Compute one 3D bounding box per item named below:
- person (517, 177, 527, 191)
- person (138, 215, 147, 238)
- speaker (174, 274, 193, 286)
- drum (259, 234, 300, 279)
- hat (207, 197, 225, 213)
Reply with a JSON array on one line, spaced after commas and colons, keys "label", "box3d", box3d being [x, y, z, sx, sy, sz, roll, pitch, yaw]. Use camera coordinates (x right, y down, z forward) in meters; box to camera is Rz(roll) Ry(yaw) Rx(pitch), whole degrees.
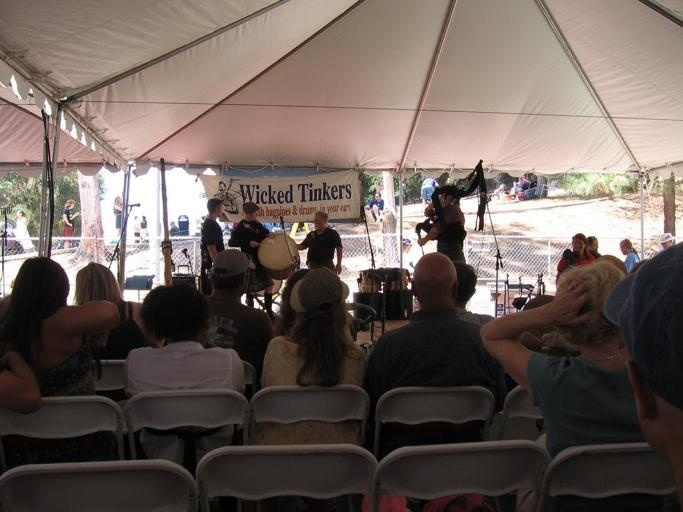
[{"label": "person", "box3d": [8.599, -3.429, 27.462, 0.384, 0.656, 0.977, 0, 2, -12]}, {"label": "person", "box3d": [-6.414, -1.001, 18.635, 0.233, 0.600, 0.911, 0, 2, -20]}, {"label": "speaker", "box3d": [-1.752, 0.256, 6.343, 0.181, 0.148, 0.190, 2, -3, -22]}, {"label": "drum", "box3d": [-0.811, -0.008, 7.407, 0.517, 0.613, 0.379, 2, -22, -7]}, {"label": "hat", "box3d": [-1.650, -0.659, 7.447, 0.178, 0.193, 0.220, 0, 2, -12]}]
